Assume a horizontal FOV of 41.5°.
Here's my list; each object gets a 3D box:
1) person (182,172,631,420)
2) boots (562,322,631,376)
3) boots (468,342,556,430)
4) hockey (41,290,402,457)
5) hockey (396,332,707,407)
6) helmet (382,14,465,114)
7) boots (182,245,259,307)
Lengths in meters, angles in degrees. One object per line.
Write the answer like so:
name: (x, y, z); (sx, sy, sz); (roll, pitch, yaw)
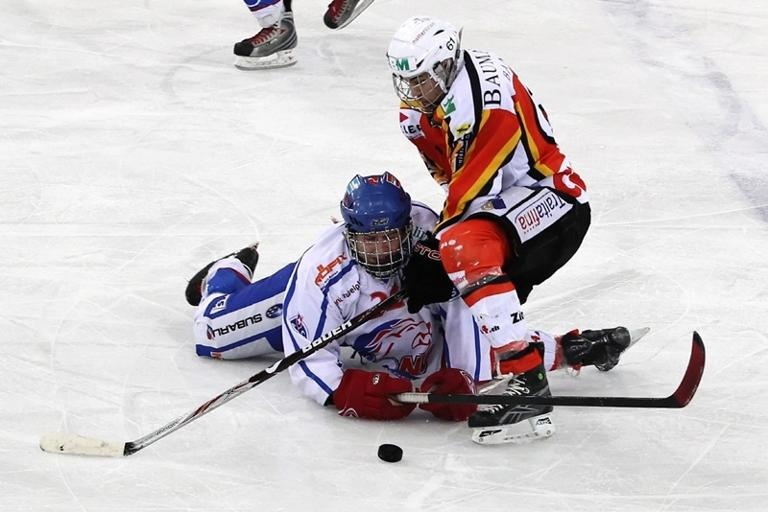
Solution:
person: (-0.181, 0.145, 6.173); (1.782, 0.922, 2.290); (-7, 16, -29)
boots: (1.323, 0.565, 6.390); (0.404, 0.146, 0.285); (-5, 3, 29)
boots: (0.714, 0.771, 5.887); (0.693, 0.460, 0.221); (-14, 14, -29)
hockey: (-0.943, 0.753, 6.236); (2.045, 0.134, 0.301); (-20, 46, -4)
hockey: (1.301, 0.745, 6.415); (0.077, 1.920, 0.417); (14, 77, -26)
helmet: (0.257, -1.146, 6.077); (0.495, 0.426, 0.413); (-33, 30, -27)
boots: (-1.149, 0.108, 7.069); (0.508, 0.167, 0.404); (-29, 12, -1)
